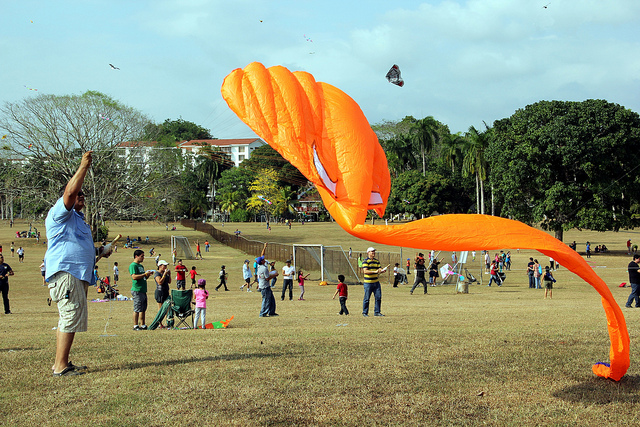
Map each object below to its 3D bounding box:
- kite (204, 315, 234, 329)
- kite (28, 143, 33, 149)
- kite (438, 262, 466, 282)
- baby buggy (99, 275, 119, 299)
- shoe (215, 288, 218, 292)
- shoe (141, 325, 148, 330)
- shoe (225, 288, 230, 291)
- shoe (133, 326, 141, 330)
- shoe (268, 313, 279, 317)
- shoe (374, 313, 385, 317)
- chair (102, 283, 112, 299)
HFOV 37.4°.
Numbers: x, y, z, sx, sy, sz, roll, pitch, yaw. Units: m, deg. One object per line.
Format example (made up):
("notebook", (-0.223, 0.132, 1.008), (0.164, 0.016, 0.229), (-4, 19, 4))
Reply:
("kite", (-5.233, 5.670, 48.581), (1.375, 0.571, 2.356), (1, -3, -6))
("kite", (-27.310, -6.257, 89.235), (0.176, 0.557, 1.022), (5, 13, -30))
("kite", (9.428, 4.334, 68.648), (1.541, 0.945, 0.836), (33, 33, 16))
("baby buggy", (-13.522, 4.891, 60.604), (0.975, 1.310, 1.910), (2, -3, -14))
("shoe", (-7.246, 5.409, 66.025), (0.131, 0.289, 0.375), (1, 6, -37))
("shoe", (-8.855, 5.785, 47.516), (0.449, 0.213, 0.172), (2, -2, 43))
("shoe", (-6.527, 5.423, 66.096), (0.251, 0.273, 0.125), (-3, -5, 9))
("shoe", (-9.195, 5.792, 47.311), (0.412, 0.176, 0.266), (0, -3, 8))
("shoe", (-2.514, 5.500, 50.691), (0.425, 0.171, 1.037), (-1, -4, 23))
("shoe", (3.127, 5.421, 50.145), (0.421, 0.172, 0.201), (0, -3, 28))
("chair", (-13.540, 5.019, 60.334), (0.532, 0.967, 1.413), (1, -3, -13))
